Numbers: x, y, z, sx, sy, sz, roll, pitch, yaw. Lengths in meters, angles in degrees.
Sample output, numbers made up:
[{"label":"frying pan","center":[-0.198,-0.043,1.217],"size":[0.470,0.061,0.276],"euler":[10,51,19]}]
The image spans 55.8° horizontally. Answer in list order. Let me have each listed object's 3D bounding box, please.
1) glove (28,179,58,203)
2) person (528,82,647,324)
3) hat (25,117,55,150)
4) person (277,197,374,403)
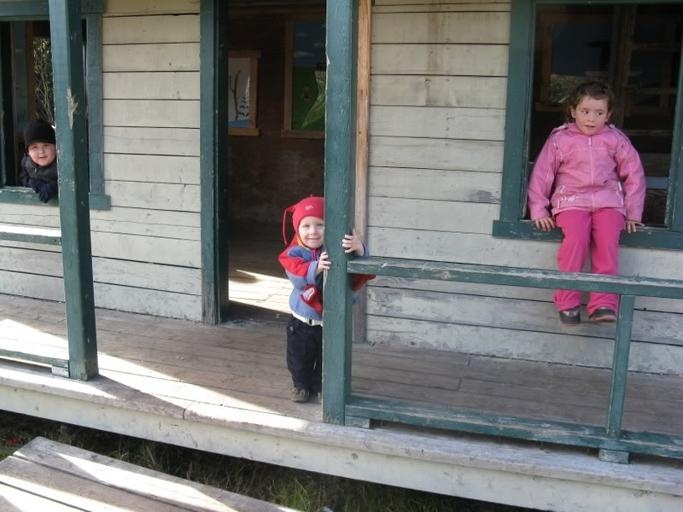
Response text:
[{"label":"glove","center":[-2.461,-0.556,5.367],"size":[0.238,0.221,0.079],"euler":[3,12,24]},{"label":"person","center":[1.582,-0.389,4.385],"size":[0.772,1.615,0.775],"euler":[3,-8,23]},{"label":"hat","center":[-2.475,-1.022,5.314],"size":[0.287,0.253,0.231],"euler":[3,11,-2]},{"label":"person","center":[-0.141,0.259,3.832],"size":[0.611,1.247,0.322],"euler":[13,19,37]}]
